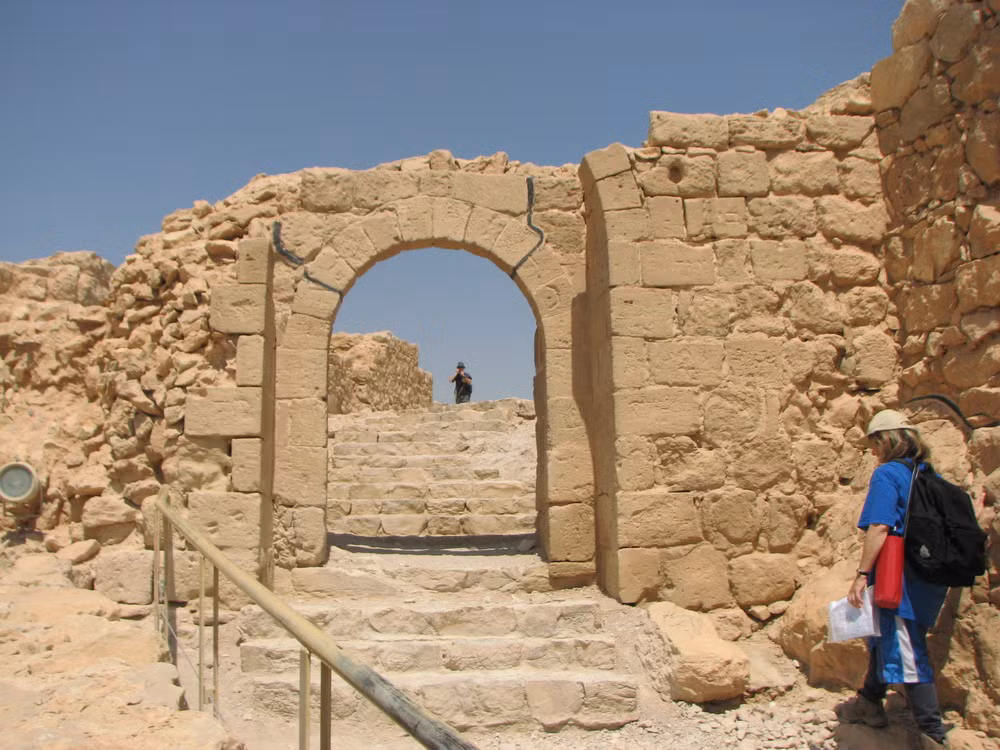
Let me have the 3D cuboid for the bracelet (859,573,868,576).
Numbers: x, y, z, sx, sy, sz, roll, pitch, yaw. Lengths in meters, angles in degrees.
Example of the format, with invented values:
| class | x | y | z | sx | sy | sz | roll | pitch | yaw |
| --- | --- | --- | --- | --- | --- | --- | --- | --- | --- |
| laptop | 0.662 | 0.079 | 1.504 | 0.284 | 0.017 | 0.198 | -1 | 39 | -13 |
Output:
| class | x | y | z | sx | sy | sz | roll | pitch | yaw |
| --- | --- | --- | --- | --- | --- | --- | --- | --- | --- |
| bracelet | 2.099 | 1.154 | 6.328 | 0.034 | 0.020 | 0.033 | 10 | -16 | -22 |

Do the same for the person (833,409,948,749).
| class | x | y | z | sx | sy | sz | roll | pitch | yaw |
| --- | --- | --- | --- | --- | --- | --- | --- | --- | --- |
| person | 2.342 | 1.188 | 6.500 | 0.533 | 1.952 | 0.591 | -4 | -9 | 20 |

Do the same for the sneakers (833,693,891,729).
| class | x | y | z | sx | sy | sz | roll | pitch | yaw |
| --- | --- | --- | --- | --- | --- | --- | --- | --- | --- |
| sneakers | 2.187 | 2.043 | 6.721 | 0.144 | 0.211 | 0.315 | -3 | 1 | -32 |
